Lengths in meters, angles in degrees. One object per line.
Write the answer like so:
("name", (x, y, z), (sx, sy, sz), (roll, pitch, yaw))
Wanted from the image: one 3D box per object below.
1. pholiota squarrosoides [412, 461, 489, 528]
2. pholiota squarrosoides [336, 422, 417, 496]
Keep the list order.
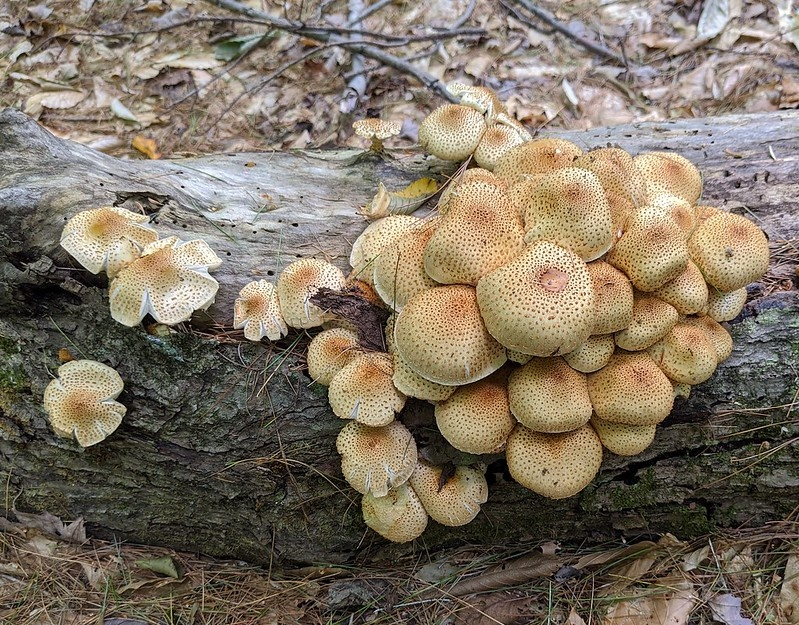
("pholiota squarrosoides", (0.312, 1.294, 6.096), (0.695, 0.143, 0.477), (15, 52, -3))
("pholiota squarrosoides", (-0.179, 1.039, 5.813), (0.628, 0.155, 0.498), (1, 79, 0))
